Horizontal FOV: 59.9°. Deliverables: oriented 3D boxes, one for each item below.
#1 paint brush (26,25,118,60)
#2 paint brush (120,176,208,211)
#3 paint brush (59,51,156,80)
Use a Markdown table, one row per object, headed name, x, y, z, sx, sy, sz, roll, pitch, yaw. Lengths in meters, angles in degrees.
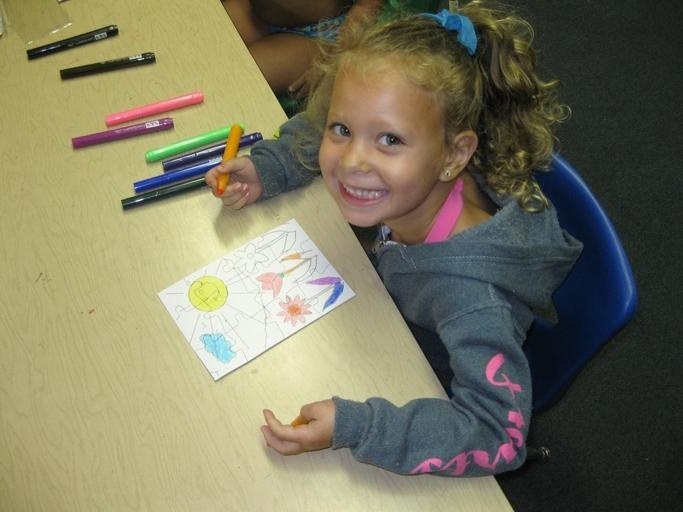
| name | x | y | z | sx | sy | sz | roll | pitch | yaw |
| --- | --- | --- | --- | --- | --- | --- | --- | --- | --- |
| paint brush | -0.653 | -0.511 | 1.435 | 0.180 | 0.029 | 0.031 | -21 | 37 | -13 |
| paint brush | -0.373 | -0.129 | 1.252 | 0.151 | 0.024 | 0.021 | -19 | 43 | -14 |
| paint brush | -0.554 | -0.448 | 1.409 | 0.159 | 0.026 | 0.027 | -14 | 46 | -7 |
